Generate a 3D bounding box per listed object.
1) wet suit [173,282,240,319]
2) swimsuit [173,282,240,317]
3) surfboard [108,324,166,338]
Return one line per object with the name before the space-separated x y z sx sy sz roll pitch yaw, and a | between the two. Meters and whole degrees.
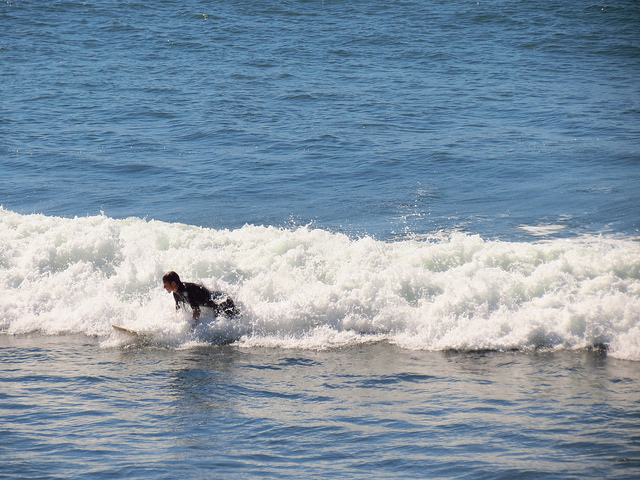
wet suit | -3.003 1.664 36.274 2.052 0.620 1.114 9 -1 -19
swimsuit | -2.927 1.623 36.320 2.120 0.656 1.154 10 8 -12
surfboard | -4.853 2.415 35.644 1.168 0.362 0.491 3 13 23
